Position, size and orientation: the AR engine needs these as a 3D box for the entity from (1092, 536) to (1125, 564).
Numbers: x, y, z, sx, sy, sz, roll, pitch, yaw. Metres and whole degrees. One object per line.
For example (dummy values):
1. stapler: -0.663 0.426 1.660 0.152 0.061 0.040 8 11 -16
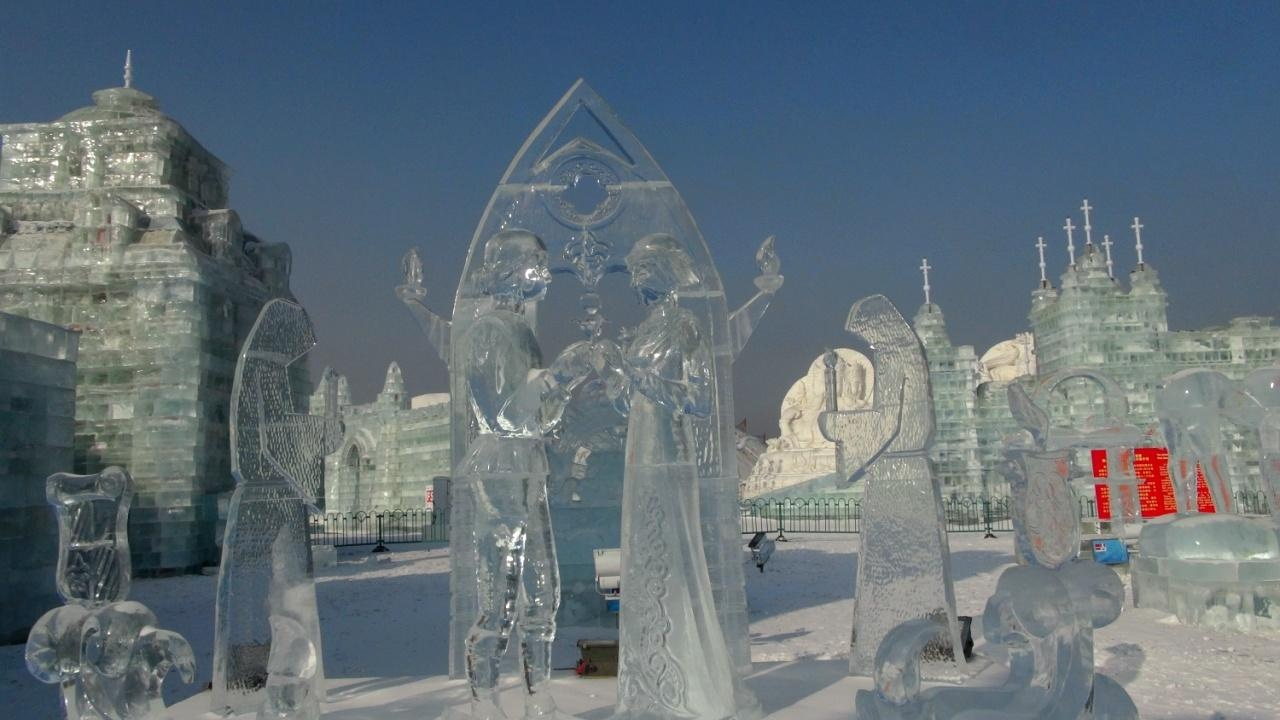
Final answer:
1. entity: 7.386 3.013 16.447 0.764 0.414 0.340 9 -17 -43

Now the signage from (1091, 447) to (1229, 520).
1. signage: 8.179 1.929 16.423 1.829 1.006 0.080 -1 -16 -12
